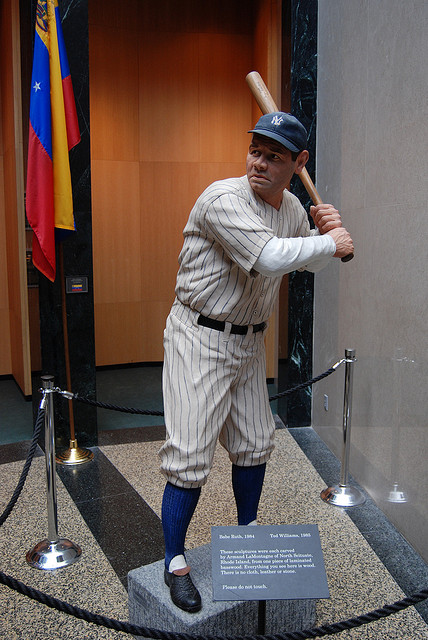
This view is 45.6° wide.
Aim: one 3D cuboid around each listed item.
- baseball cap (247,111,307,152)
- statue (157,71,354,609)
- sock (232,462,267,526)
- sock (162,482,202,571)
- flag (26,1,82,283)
[{"bbox_3d":[0.184,-0.548,1.453,0.119,0.123,0.162,6,12,28],"label":"baseball cap"},{"bbox_3d":[0.092,0.057,1.590,0.640,1.351,0.440,-5,10,-31],"label":"statue"},{"bbox_3d":[0.105,0.570,1.789,0.104,0.228,0.113,2,11,-33],"label":"sock"},{"bbox_3d":[-0.097,0.597,1.522,0.111,0.268,0.100,-1,9,-10],"label":"sock"},{"bbox_3d":[-1.018,-1.126,3.208,0.342,1.705,0.155,-4,9,-27],"label":"flag"}]
